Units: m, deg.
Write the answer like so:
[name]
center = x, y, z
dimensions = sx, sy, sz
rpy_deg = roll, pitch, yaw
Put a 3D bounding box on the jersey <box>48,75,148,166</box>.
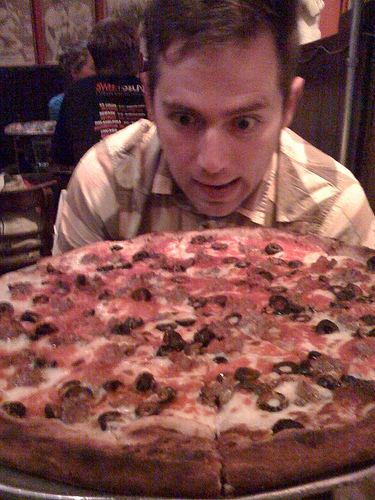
[jersey]
center = -0.224, -0.318, 0.998
dimensions = 0.208, 0.210, 0.081
rpy_deg = -1, 42, -9
